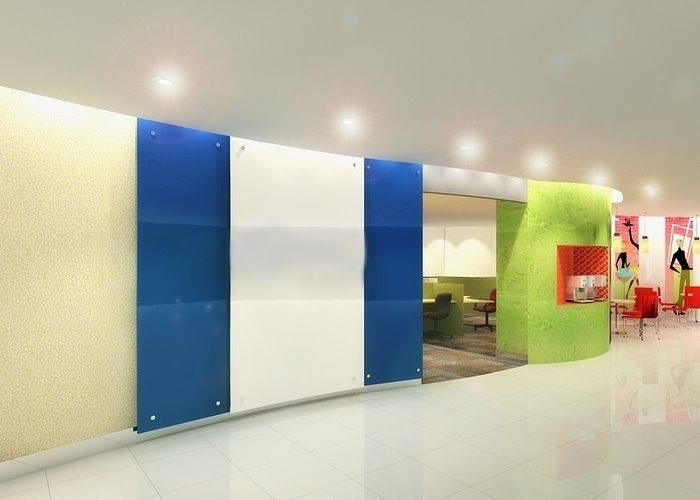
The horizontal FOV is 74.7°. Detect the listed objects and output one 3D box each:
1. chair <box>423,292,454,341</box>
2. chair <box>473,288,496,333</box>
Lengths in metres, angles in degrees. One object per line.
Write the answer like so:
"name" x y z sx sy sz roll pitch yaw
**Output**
"chair" 1.881 1.402 10.016 0.586 0.941 0.618 0 -2 -23
"chair" 3.558 1.510 11.803 0.641 1.039 0.674 4 -3 -18
